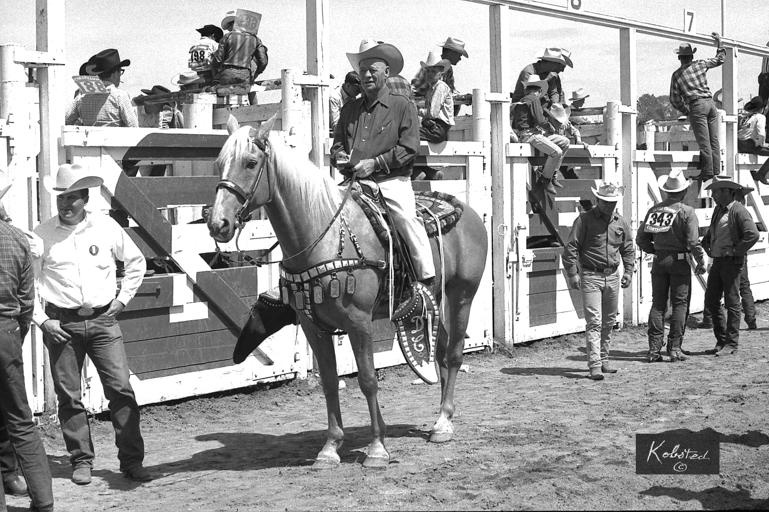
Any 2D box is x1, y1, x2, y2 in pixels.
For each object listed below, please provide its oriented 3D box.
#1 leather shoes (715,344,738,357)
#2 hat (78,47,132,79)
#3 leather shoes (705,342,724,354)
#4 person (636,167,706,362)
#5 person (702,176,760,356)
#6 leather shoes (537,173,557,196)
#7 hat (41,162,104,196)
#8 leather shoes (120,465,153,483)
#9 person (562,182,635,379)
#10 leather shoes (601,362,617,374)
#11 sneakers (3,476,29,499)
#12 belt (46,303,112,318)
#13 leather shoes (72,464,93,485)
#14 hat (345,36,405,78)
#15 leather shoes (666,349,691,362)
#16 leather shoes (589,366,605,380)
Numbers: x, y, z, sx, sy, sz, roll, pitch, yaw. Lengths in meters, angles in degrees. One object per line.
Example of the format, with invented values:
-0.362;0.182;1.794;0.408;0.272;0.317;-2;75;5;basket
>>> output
4.889;1.360;16.806;0.286;0.125;0.151;-3;5;-20;leather shoes
-3.917;-2.701;16.586;0.608;0.372;1.364;-3;11;-12;hat
4.727;1.349;16.867;0.280;0.199;0.109;2;0;4;leather shoes
4.016;0.151;16.406;0.767;2.616;0.632;1;10;11;person
4.979;0.144;16.948;0.623;2.404;0.928;-2;10;-3;person
2.427;-1.040;17.476;0.203;0.136;0.334;-25;53;-28;leather shoes
-3.191;-0.793;12.298;0.471;0.195;0.482;-6;5;37;hat
-2.606;2.284;12.387;0.320;0.142;0.147;2;5;27;leather shoes
2.894;0.309;15.811;0.864;2.569;0.665;-10;13;-41;person
3.025;1.532;15.907;0.098;0.130;0.299;-3;-6;-11;leather shoes
-3.783;2.369;12.083;0.378;0.176;0.166;4;4;21;sneakers
-3.198;0.577;12.273;0.659;0.148;0.113;-3;10;-10;belt
-3.167;2.282;12.336;0.200;0.212;0.178;-5;11;-19;leather shoes
-0.105;-2.130;12.822;0.576;0.375;0.617;-1;11;0;hat
4.154;1.389;16.545;0.139;0.174;0.396;0;5;32;leather shoes
2.820;1.557;15.595;0.197;0.160;0.179;0;11;7;leather shoes
